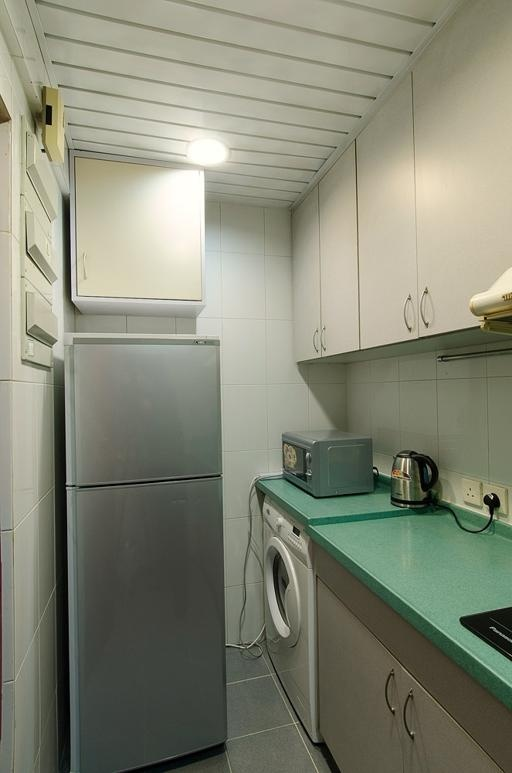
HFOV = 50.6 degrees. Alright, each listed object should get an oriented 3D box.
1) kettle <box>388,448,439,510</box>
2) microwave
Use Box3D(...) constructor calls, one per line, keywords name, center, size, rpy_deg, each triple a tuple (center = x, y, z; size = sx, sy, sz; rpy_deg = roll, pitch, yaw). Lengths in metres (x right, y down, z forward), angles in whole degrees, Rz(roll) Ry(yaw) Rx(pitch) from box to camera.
Box3D(name="kettle", center=(0.546, 0.302, 1.898), size=(0.142, 0.205, 0.146), rpy_deg=(0, 0, -18))
Box3D(name="microwave", center=(0.304, 0.308, 2.304), size=(0.275, 0.255, 0.440), rpy_deg=(-3, 5, -14))
